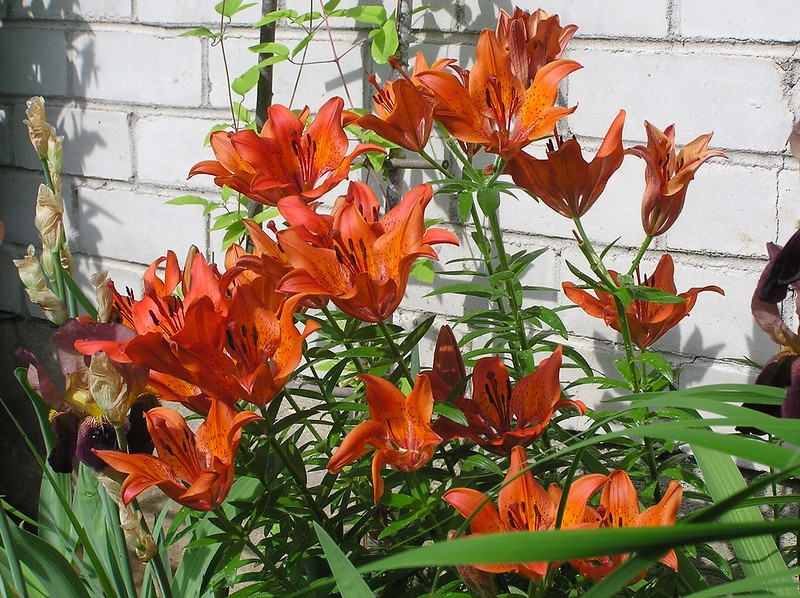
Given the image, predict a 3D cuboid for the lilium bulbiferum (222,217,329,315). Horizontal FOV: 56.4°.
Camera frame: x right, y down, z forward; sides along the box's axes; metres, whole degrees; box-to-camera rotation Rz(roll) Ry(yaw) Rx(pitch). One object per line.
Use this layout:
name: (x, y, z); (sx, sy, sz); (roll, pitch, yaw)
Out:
lilium bulbiferum: (-0.188, -0.060, 1.163); (0.061, 0.172, 0.146); (-7, -29, -27)

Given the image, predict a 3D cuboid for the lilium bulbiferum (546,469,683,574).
lilium bulbiferum: (0.318, 0.302, 1.035); (0.137, 0.175, 0.079); (1, -25, 39)
